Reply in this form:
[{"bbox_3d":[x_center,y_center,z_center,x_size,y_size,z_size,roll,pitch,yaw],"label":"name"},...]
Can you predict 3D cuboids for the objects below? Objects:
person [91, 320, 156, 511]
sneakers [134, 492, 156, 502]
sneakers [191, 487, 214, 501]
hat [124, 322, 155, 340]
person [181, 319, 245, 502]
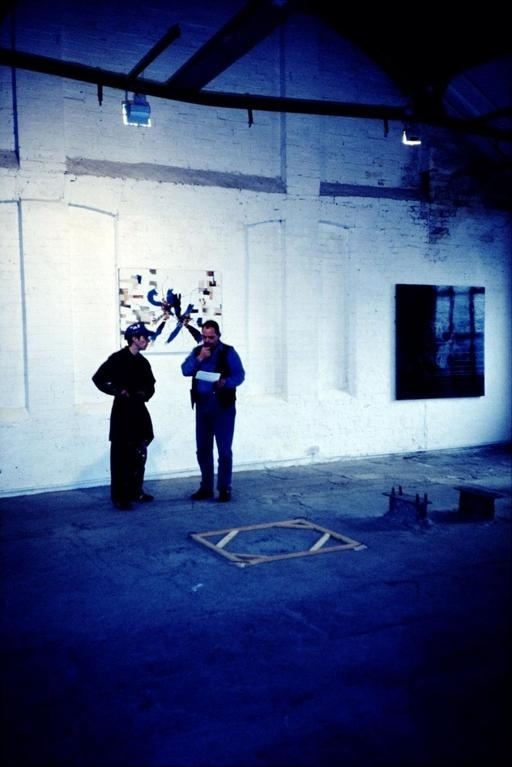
[{"bbox_3d":[-1.129,0.291,6.871,0.372,1.597,0.520,5,7,24],"label":"person"},{"bbox_3d":[-1.010,1.036,7.121,0.184,0.133,0.068,-1,-2,-10],"label":"sneakers"},{"bbox_3d":[-0.492,1.035,7.173,0.244,0.107,0.082,5,-9,-32],"label":"sneakers"},{"bbox_3d":[-1.001,-0.468,6.904,0.283,0.172,0.200,-3,7,-21],"label":"hat"},{"bbox_3d":[-0.381,0.257,7.029,0.475,1.639,0.404,8,9,44],"label":"person"}]
